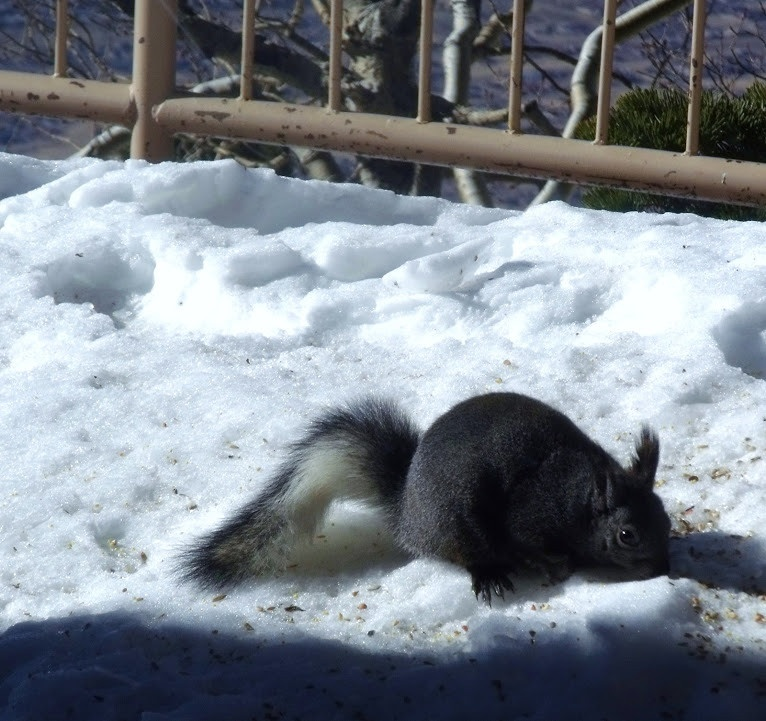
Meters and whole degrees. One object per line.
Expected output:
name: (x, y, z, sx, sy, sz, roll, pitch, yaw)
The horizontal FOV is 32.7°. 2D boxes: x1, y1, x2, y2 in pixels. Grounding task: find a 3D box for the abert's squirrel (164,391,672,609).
abert's squirrel: (0.275, 0.419, 4.107, 1.677, 0.788, 0.605, 1, 26, 12)
